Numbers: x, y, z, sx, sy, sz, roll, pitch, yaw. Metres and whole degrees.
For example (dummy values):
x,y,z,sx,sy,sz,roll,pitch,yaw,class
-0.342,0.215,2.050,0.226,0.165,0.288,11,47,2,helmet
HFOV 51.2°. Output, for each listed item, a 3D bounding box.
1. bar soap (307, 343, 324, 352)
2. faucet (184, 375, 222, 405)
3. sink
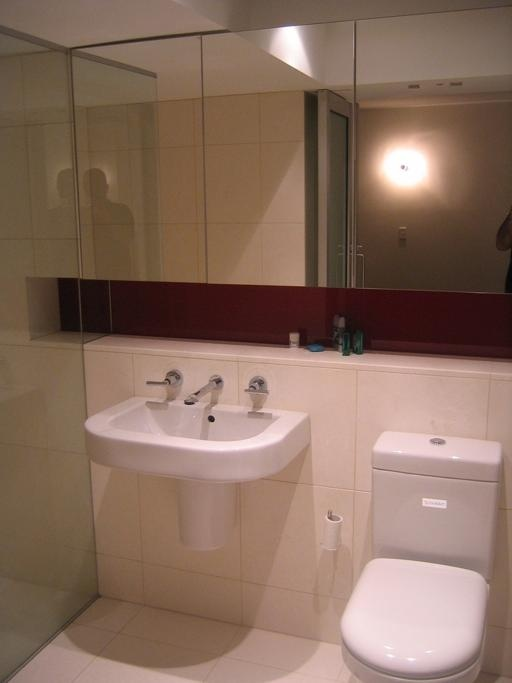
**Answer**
x,y,z,sx,sy,sz,roll,pitch,yaw,class
0.211,0.026,1.885,0.062,0.030,0.081,1,2,39,bar soap
-0.169,0.174,1.762,0.061,0.096,0.151,13,31,23,faucet
-0.198,0.313,1.691,0.666,0.191,0.465,0,1,22,sink
